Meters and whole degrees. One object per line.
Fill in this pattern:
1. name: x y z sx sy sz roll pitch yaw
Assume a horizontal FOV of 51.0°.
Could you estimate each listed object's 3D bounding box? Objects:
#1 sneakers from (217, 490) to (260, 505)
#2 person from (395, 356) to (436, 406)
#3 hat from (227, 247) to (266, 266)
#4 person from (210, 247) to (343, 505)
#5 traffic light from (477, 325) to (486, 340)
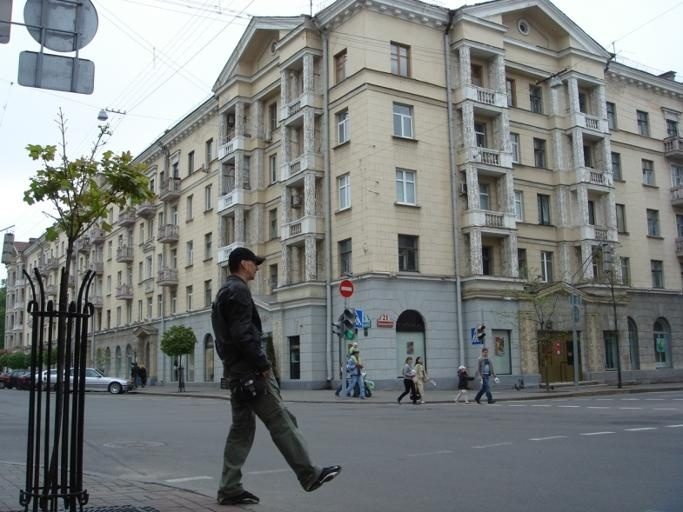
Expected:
1. sneakers: -1.258 2.945 8.625 0.474 0.198 0.186 -1 -3 -11
2. person: 2.445 4.344 24.973 0.940 1.630 1.598 -3 -11 4
3. hat: -1.215 0.012 8.995 0.378 0.196 0.239 -1 -1 -16
4. person: -0.989 1.379 8.779 1.338 3.253 1.014 -4 -11 9
5. traffic light: 5.963 3.313 30.890 0.319 0.629 0.646 -3 -11 6
